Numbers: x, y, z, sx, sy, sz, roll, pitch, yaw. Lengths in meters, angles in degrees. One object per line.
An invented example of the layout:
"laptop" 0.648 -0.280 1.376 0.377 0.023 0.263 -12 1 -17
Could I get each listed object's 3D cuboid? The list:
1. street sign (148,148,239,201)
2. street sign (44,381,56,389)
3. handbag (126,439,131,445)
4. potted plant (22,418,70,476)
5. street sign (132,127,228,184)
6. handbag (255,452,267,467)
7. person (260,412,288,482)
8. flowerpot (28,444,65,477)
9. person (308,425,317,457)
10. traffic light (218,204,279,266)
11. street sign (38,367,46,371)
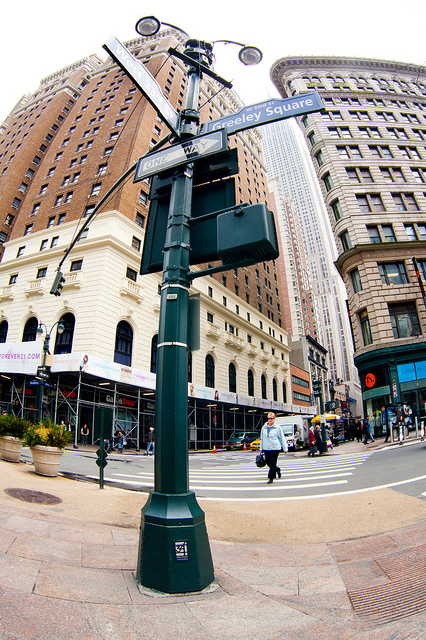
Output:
"street sign" -0.222 -1.740 4.681 0.763 0.294 0.108 -2 -6 33
"street sign" -9.068 3.689 22.132 0.504 0.388 1.899 3 -19 -19
"handbag" -5.526 8.146 25.966 0.245 0.271 0.337 1 -18 -13
"potted plant" -3.656 2.840 8.700 0.864 1.222 0.641 -2 -17 -1
"street sign" -0.379 -1.955 4.667 1.207 0.558 0.043 -13 -40 15
"handbag" 1.053 3.273 9.086 0.210 0.301 0.293 -3 -5 -10
"person" 1.396 3.008 9.195 0.571 1.534 1.590 -5 -17 7
"flowerpot" -3.557 3.057 8.520 0.706 0.582 0.726 -15 -29 35
"person" 4.703 5.940 18.939 0.400 1.272 2.367 -7 -18 13
"traffic light" 0.334 -0.869 4.042 0.612 0.658 0.330 -9 -11 28
"street sign" -6.846 2.021 15.823 0.247 0.169 0.222 8 -20 -33
